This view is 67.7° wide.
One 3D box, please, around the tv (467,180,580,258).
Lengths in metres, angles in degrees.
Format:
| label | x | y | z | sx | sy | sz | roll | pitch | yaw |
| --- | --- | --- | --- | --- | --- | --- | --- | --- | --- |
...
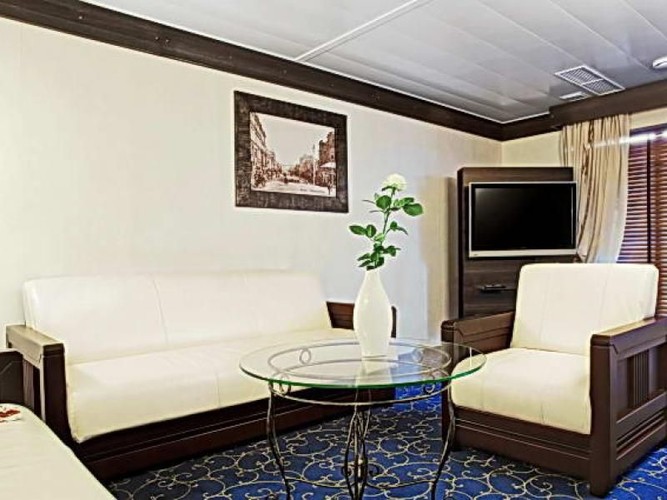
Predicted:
| label | x | y | z | sx | sy | sz | roll | pitch | yaw |
| --- | --- | --- | --- | --- | --- | --- | --- | --- | --- |
| tv | 1.954 | -0.323 | 5.254 | 0.851 | 0.572 | 0.085 | 0 | -1 | -4 |

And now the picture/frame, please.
| label | x | y | z | sx | sy | sz | roll | pitch | yaw |
| --- | --- | --- | --- | --- | --- | --- | --- | --- | --- |
| picture/frame | -0.415 | -0.852 | 4.349 | 1.260 | 0.978 | 0.049 | 1 | -1 | -36 |

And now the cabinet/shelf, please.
| label | x | y | z | sx | sy | sz | roll | pitch | yaw |
| --- | --- | --- | --- | --- | --- | --- | --- | --- | --- |
| cabinet/shelf | 2.040 | 0.028 | 5.413 | 1.228 | 1.668 | 0.519 | -1 | -2 | 12 |
